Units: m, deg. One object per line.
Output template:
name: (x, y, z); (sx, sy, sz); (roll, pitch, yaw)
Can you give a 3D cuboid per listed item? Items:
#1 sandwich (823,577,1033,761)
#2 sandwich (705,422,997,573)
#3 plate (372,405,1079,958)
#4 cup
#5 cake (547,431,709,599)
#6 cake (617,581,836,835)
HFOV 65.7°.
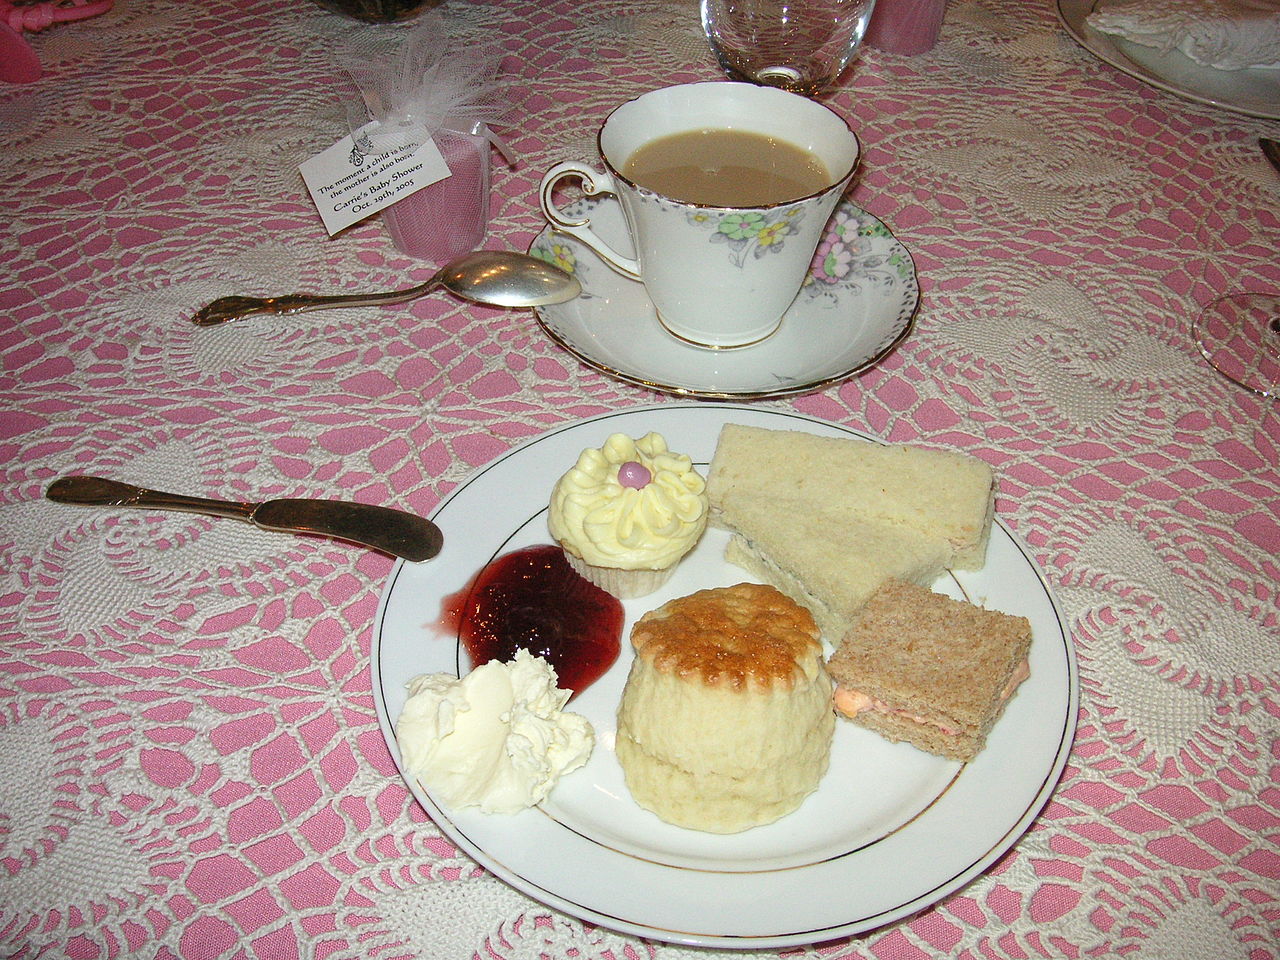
sandwich: (0.409, 0.265, 1.384); (0.281, 0.103, 0.261); (-4, 35, 6)
sandwich: (0.340, 0.086, 1.608); (0.485, 0.107, 0.186); (6, 68, 4)
plate: (0.112, 0.231, 1.353); (0.906, 0.224, 0.746); (19, 69, 10)
cup: (0.112, -0.419, 1.691); (0.525, 0.292, 0.416); (6, 38, 3)
cake: (-0.006, 0.053, 1.516); (0.249, 0.188, 0.234); (-7, 44, -3)
cake: (0.134, 0.328, 1.396); (0.303, 0.292, 0.191); (2, 104, 19)
